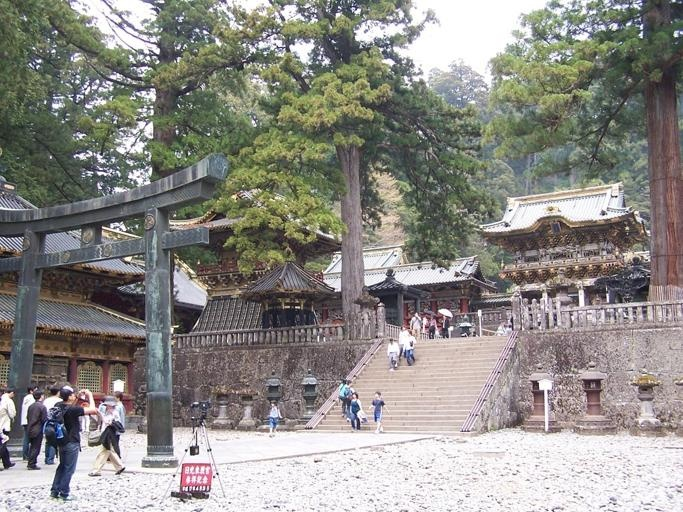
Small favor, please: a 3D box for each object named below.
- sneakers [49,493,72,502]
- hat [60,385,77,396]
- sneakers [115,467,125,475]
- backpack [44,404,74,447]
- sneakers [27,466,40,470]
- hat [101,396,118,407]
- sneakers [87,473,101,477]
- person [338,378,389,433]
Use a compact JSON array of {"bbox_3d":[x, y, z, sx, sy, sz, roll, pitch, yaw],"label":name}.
[{"bbox_3d":[-5.900,5.052,18.272,0.474,0.148,0.179,0,8,-2],"label":"sneakers"},{"bbox_3d":[-5.980,2.977,18.991,0.244,0.227,0.353,4,15,31],"label":"hat"},{"bbox_3d":[-5.197,5.033,20.353,0.287,0.127,0.104,-4,-10,-45],"label":"sneakers"},{"bbox_3d":[-6.071,3.623,18.577,0.676,0.874,0.325,7,10,43],"label":"backpack"},{"bbox_3d":[-7.510,5.151,21.177,0.246,0.112,0.092,1,-3,-9],"label":"sneakers"},{"bbox_3d":[-5.491,3.466,20.420,0.352,0.198,0.311,8,3,40],"label":"hat"},{"bbox_3d":[-5.745,5.081,20.131,0.251,0.107,0.096,8,-16,1],"label":"sneakers"},{"bbox_3d":[0.663,4.737,27.247,1.193,1.197,0.514,-7,-22,21],"label":"person"}]
